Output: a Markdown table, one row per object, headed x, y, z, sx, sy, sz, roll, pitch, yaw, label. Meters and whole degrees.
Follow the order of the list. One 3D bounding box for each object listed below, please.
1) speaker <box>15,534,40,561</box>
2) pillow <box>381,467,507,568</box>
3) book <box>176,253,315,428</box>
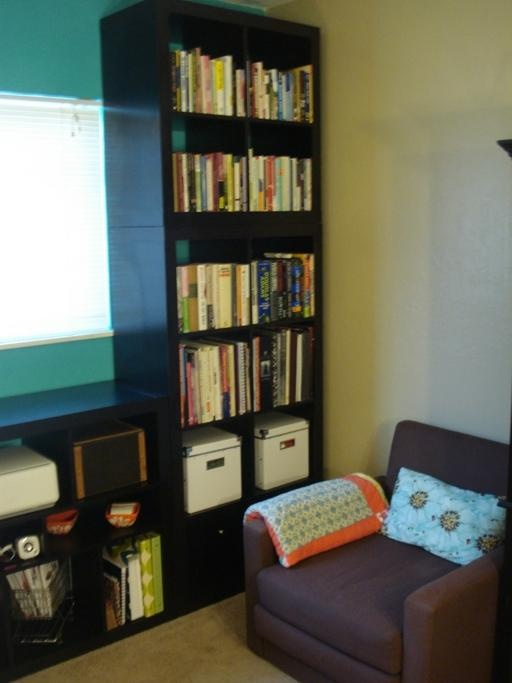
| x | y | z | sx | sy | sz | roll | pitch | yaw | label |
| --- | --- | --- | --- | --- | --- | --- | --- | --- | --- |
| -0.759 | 0.679 | 1.972 | 0.025 | 0.082 | 0.073 | 8 | 7 | 37 | speaker |
| 0.631 | 0.600 | 1.995 | 0.124 | 0.272 | 0.427 | 22 | -3 | -36 | pillow |
| -0.061 | -0.022 | 2.476 | 0.589 | 0.626 | 0.189 | -14 | 19 | -40 | book |
